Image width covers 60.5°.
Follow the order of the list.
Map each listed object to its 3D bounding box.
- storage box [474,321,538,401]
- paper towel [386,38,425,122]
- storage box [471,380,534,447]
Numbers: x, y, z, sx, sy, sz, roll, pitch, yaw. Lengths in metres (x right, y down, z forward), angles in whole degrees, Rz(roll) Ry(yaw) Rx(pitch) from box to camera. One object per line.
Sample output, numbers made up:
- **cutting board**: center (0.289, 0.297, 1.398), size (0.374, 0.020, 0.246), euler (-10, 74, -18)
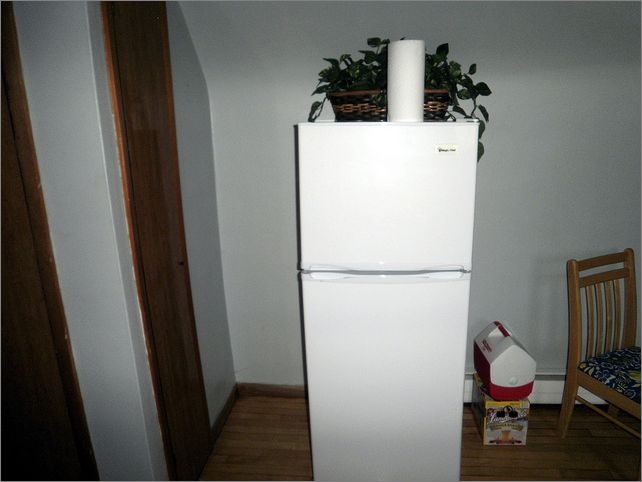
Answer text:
- **storage box**: center (1.065, 0.705, 3.229), size (0.250, 0.373, 0.310), euler (-1, 14, -2)
- **paper towel**: center (0.396, -0.754, 2.596), size (0.169, 0.367, 0.078), euler (1, 13, 6)
- **storage box**: center (1.048, 0.893, 3.260), size (0.250, 0.347, 0.507), euler (1, 26, 2)
